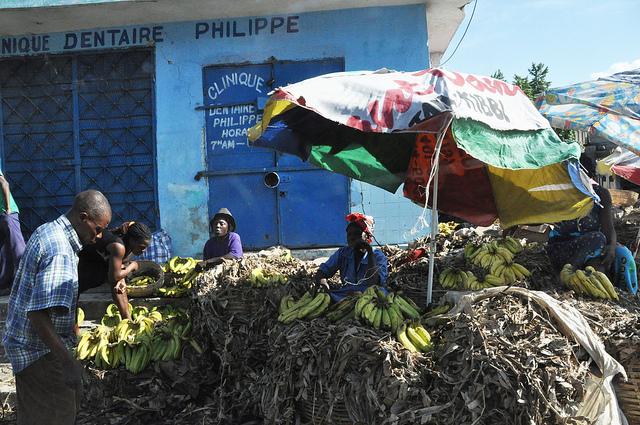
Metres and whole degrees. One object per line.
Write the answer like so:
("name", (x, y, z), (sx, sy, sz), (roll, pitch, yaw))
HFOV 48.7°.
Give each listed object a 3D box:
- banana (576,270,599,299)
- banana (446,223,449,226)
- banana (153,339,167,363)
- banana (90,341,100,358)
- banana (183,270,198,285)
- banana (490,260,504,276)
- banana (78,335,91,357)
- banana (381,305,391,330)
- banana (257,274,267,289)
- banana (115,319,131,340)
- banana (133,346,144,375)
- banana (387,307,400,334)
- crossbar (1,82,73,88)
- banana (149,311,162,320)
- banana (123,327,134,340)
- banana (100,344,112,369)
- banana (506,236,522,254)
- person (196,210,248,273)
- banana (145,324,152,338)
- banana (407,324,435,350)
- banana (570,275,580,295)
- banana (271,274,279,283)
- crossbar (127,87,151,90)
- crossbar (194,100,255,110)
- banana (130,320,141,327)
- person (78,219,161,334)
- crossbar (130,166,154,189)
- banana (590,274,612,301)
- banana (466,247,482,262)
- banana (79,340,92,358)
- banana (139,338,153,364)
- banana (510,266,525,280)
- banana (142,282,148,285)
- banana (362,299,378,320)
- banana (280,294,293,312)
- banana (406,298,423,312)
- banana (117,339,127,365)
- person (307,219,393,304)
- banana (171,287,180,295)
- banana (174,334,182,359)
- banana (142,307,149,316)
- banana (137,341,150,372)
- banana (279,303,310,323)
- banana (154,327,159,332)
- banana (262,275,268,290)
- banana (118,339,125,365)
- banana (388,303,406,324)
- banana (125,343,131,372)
("banana", (3.707, 1.003, 9.993), (0.120, 0.520, 0.177), (-49, -18, 30))
("banana", (2.307, 0.208, 12.815), (0.040, 0.042, 0.042), (10, -10, -10))
("banana", (-2.294, 2.021, 10.203), (0.095, 0.369, 0.129), (37, -17, -11))
("banana", (-3.273, 2.005, 10.260), (0.068, 0.262, 0.091), (41, -15, -21))
("banana", (-2.109, 1.065, 11.540), (0.282, 0.072, 0.066), (-46, 30, -4))
("banana", (2.579, 0.796, 10.304), (0.220, 0.202, 0.087), (-5, -1, -12))
("banana", (-3.456, 1.942, 10.362), (0.071, 0.360, 0.091), (35, -44, -22))
("banana", (0.881, 1.432, 9.556), (0.074, 0.277, 0.096), (-16, -21, 13))
("banana", (-0.868, 1.027, 10.402), (0.088, 0.127, 0.158), (-18, -46, 21))
("banana", (-2.954, 1.693, 10.451), (0.098, 0.148, 0.370), (10, 47, 24))
("banana", (-2.580, 2.110, 10.123), (0.083, 0.409, 0.106), (12, -19, -8))
("banana", (0.994, 1.448, 9.533), (0.149, 0.326, 0.118), (-6, -1, 8))
("crossbar", (-5.495, -2.530, 13.873), (1.324, 0.063, 0.028), (-4, 13, -1))
("banana", (-2.540, 1.590, 10.921), (0.185, 0.103, 0.211), (-5, -2, -15))
("banana", (-2.830, 1.782, 10.425), (0.033, 0.199, 0.051), (27, -49, -2))
("banana", (-3.096, 2.075, 10.191), (0.142, 0.265, 0.140), (-5, -2, -24))
("banana", (2.990, 0.501, 10.952), (0.104, 0.290, 0.059), (-46, -4, -43))
("person", (-1.653, 0.460, 11.733), (0.739, 1.057, 0.641), (-1, -9, -2))
("banana", (-2.543, 1.757, 10.442), (0.035, 0.137, 0.088), (-24, -6, 0))
("banana", (1.321, 1.654, 9.408), (0.201, 0.413, 0.160), (-36, -17, -14))
("banana", (3.628, 1.025, 10.104), (0.066, 0.267, 0.102), (-22, -4, 42))
("banana", (-0.670, 0.974, 10.480), (0.091, 0.108, 0.091), (21, -48, -41))
("crossbar", (-3.491, -2.425, 13.737), (0.411, 0.031, 0.015), (-6, -1, 4))
("crossbar", (-1.842, -2.075, 13.543), (1.133, 0.111, 0.031), (-5, -1, 2))
("banana", (-2.755, 1.655, 10.547), (0.156, 0.081, 0.063), (-5, -2, -11))
("person", (-3.051, 1.035, 10.669), (1.429, 0.688, 1.522), (13, -54, -21))
("crossbar", (-3.461, -0.692, 13.756), (0.443, 0.376, 0.041), (-6, -1, 7))
("banana", (3.917, 1.065, 9.879), (0.101, 0.386, 0.069), (-38, -5, -21))
("banana", (2.340, 0.643, 10.744), (0.256, 0.207, 0.148), (-6, -2, 27))
("banana", (-3.427, 1.990, 10.331), (0.065, 0.249, 0.083), (34, -48, -17))
("banana", (-2.491, 1.985, 10.198), (0.092, 0.289, 0.228), (0, 0, -41))
("banana", (2.850, 0.876, 10.249), (0.069, 0.291, 0.075), (-37, -17, 6))
("banana", (-2.858, 1.159, 11.575), (0.071, 0.025, 0.072), (-6, -2, 20))
("banana", (0.654, 1.315, 9.648), (0.099, 0.139, 0.362), (-40, 11, 45))
("banana", (-0.487, 1.290, 10.095), (0.124, 0.224, 0.066), (20, -13, -28))
("banana", (1.329, 1.305, 9.936), (0.057, 0.215, 0.039), (-47, -17, 11))
("banana", (-2.850, 2.000, 10.155), (0.076, 0.266, 0.228), (2, -7, -3))
("person", (0.564, 0.697, 10.480), (1.125, 1.391, 1.212), (-1, -2, 29))
("banana", (-2.365, 1.285, 11.567), (0.089, 0.033, 0.121), (-23, 0, 12))
("banana", (-2.070, 1.943, 10.287), (0.080, 0.380, 0.103), (-5, -7, 28))
("banana", (-2.732, 1.543, 11.088), (0.032, 0.181, 0.048), (-24, 5, 10))
("banana", (-2.503, 2.058, 10.067), (0.189, 0.343, 0.103), (13, -15, -33))
("banana", (-0.338, 1.404, 9.842), (0.586, 0.083, 0.123), (-29, 32, -18))
("banana", (-2.421, 1.729, 10.464), (0.043, 0.020, 0.058), (0, 21, 13))
("banana", (-0.810, 1.035, 10.466), (0.073, 0.180, 0.212), (-5, -2, -3))
("banana", (-2.873, 2.002, 10.142), (0.114, 0.329, 0.079), (-2, -8, -41))
("banana", (1.054, 1.346, 9.587), (0.135, 0.351, 0.094), (-45, -15, 8))
("banana", (-2.755, 2.076, 10.149), (0.075, 0.402, 0.104), (-13, -13, 33))
